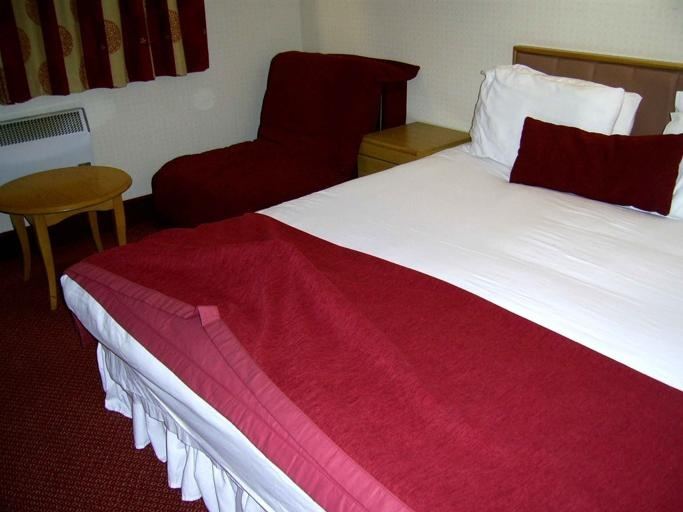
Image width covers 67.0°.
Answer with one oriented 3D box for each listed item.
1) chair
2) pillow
[{"bbox_3d":[-0.387,-0.771,3.494,1.203,1.064,1.590,29,44,35],"label":"chair"},{"bbox_3d":[1.228,-0.684,2.808,0.950,0.620,0.299,27,17,30],"label":"pillow"}]
